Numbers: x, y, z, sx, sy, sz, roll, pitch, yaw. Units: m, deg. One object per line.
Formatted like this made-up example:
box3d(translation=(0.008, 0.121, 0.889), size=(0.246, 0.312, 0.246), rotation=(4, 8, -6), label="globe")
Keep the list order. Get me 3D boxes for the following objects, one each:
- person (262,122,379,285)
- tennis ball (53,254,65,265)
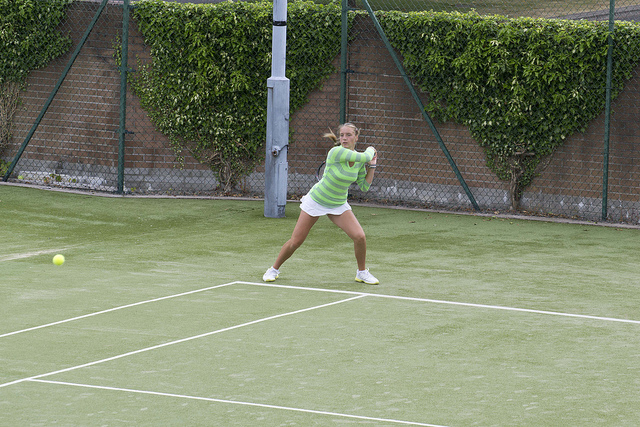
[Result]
box3d(translation=(0.142, -0.121, 10.460), size=(1.327, 2.046, 0.455), rotation=(2, 13, 2), label="person")
box3d(translation=(-3.576, 0.632, 10.912), size=(0.124, 0.152, 0.198), rotation=(-5, 14, -24), label="tennis ball")
